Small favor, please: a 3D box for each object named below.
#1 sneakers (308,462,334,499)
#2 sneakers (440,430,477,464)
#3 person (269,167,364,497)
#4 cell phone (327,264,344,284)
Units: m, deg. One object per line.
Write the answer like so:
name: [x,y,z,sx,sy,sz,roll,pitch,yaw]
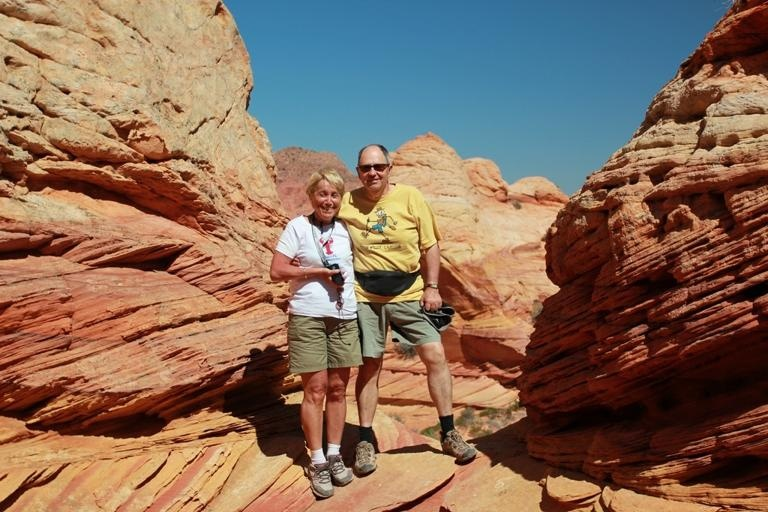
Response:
sneakers: [-0.670,2.367,5.772,0.286,0.357,0.228,5,15,-6]
sneakers: [0.882,2.154,6.226,0.260,0.230,0.573,-30,12,-32]
person: [-0.728,0.805,5.805,1.009,3.412,1.232,2,16,-17]
cell phone: [-0.522,0.185,5.701,0.136,0.204,0.147,-2,16,-30]
